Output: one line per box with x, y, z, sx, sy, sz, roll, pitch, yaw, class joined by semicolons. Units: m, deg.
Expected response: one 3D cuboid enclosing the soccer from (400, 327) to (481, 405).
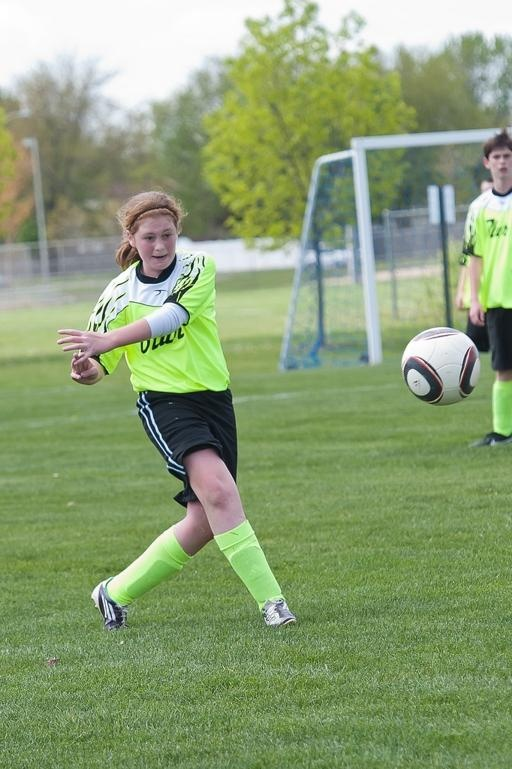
0.720;-0.066;4.230;0.254;0.274;0.204;0;10;41;soccer

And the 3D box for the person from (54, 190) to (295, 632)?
-0.287;0.085;3.333;0.600;1.344;0.496;-8;8;-6;person

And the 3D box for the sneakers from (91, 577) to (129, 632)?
-0.449;0.702;3.427;0.096;0.175;0.064;-25;1;26;sneakers
